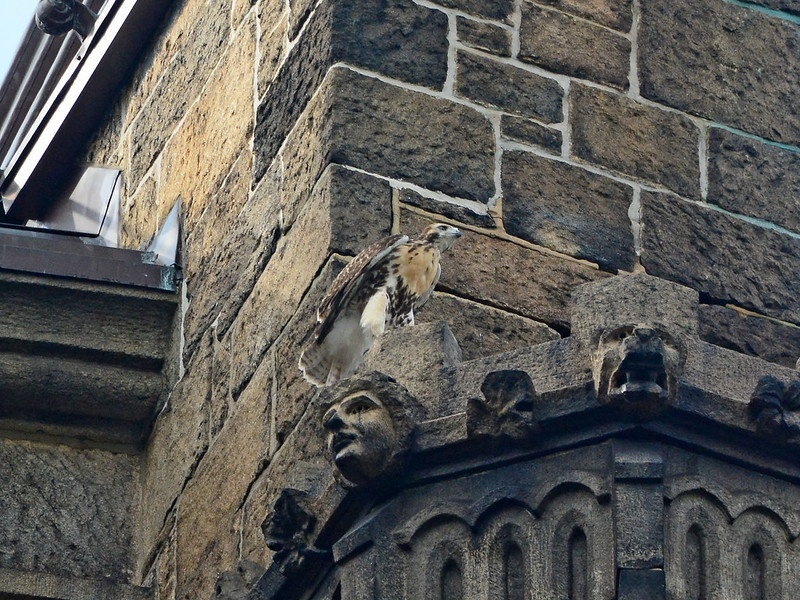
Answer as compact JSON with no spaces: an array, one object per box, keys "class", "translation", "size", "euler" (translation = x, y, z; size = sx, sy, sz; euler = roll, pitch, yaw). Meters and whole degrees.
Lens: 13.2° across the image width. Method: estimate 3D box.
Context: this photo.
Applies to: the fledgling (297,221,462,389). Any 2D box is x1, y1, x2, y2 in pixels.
[{"class":"fledgling","translation":[-0.060,0.023,12.952],"size":[0.673,0.567,0.329],"euler":[-29,-60,30]}]
